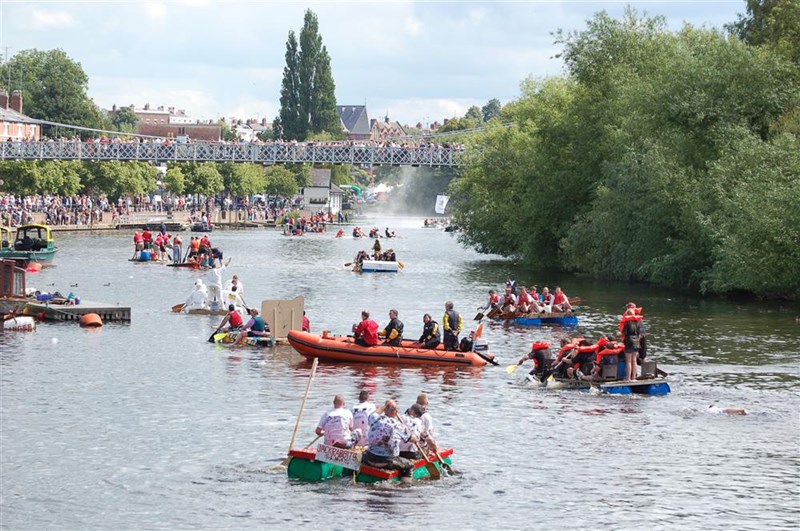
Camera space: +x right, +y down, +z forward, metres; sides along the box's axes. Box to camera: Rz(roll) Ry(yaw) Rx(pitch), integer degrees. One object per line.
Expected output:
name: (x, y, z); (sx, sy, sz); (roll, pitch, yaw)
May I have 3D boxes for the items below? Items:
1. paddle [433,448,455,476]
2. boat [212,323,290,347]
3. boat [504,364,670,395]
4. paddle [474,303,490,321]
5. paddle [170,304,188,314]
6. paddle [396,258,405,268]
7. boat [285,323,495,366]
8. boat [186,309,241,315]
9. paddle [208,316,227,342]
paddle: (1.810, 7.936, 62.710); (0.308, 0.972, 0.738); (-28, 9, 47)
boat: (-7.663, 3.611, 77.756); (3.767, 0.603, 1.457); (4, 13, 17)
boat: (9.249, 5.357, 70.573); (6.251, 0.677, 1.103); (3, 13, 13)
paddle: (4.689, 2.504, 85.710); (0.440, 0.280, 1.441); (28, 56, 17)
paddle: (-12.196, 2.331, 85.567); (0.749, 0.373, 0.554); (-2, 13, -11)
paddle: (0.140, -0.028, 110.755); (0.462, 0.186, 0.578); (18, 6, -13)
boat: (-0.388, 4.228, 74.713); (8.706, 1.352, 3.204); (6, -7, 2)
boat: (-10.529, 2.525, 85.114); (2.172, 0.276, 1.140); (2, -3, 13)
paddle: (-9.274, 3.307, 78.712); (0.509, 1.996, 0.286); (31, 32, -2)
